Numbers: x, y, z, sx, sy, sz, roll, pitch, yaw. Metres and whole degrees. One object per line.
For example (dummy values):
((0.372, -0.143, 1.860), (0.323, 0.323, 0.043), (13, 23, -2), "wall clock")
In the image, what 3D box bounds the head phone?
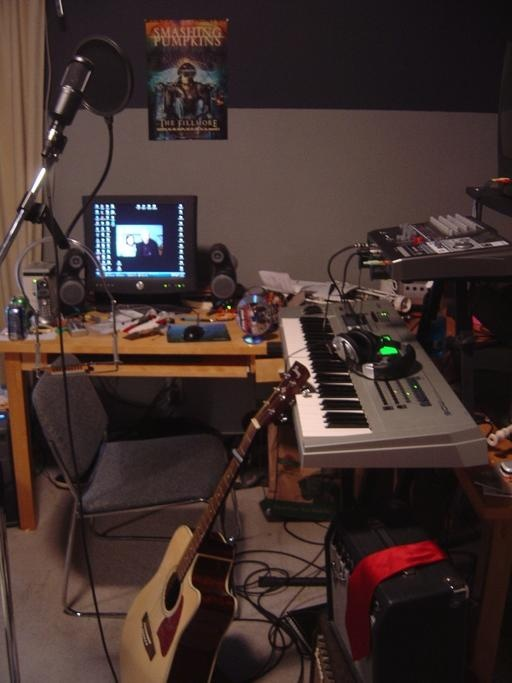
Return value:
((0.308, 0.021, 1.485), (0.180, 0.090, 0.249), (-4, 21, -1), "head phone")

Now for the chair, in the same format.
((-0.396, 0.357, 2.238), (0.797, 1.124, 0.708), (-1, 9, -9), "chair")

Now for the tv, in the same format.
((-0.503, -0.486, 2.510), (0.444, 0.444, 0.245), (-2, 37, -12), "tv")

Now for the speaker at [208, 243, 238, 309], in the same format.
((-0.143, -0.284, 2.451), (0.109, 0.260, 0.122), (-3, 14, -3), "speaker")

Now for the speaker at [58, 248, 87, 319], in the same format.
((-0.765, -0.242, 2.389), (0.146, 0.207, 0.103), (-1, 15, -20), "speaker")

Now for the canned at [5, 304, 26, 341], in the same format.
((-0.876, -0.074, 2.092), (0.080, 0.135, 0.068), (-4, 14, -5), "canned")
